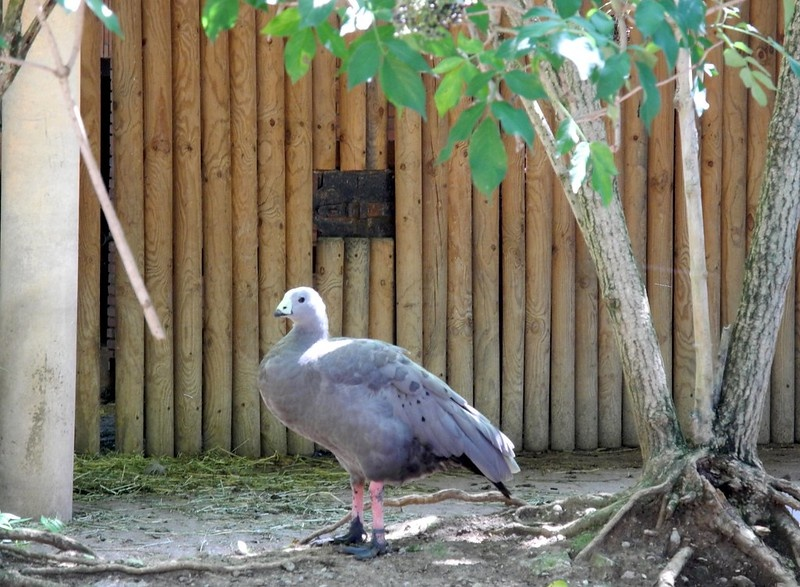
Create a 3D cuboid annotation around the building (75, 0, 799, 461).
[{"bbox_3d":[0.068,-0.439,8.830,4.230,2.944,1.110,0,-6,-16],"label":"building"}]
